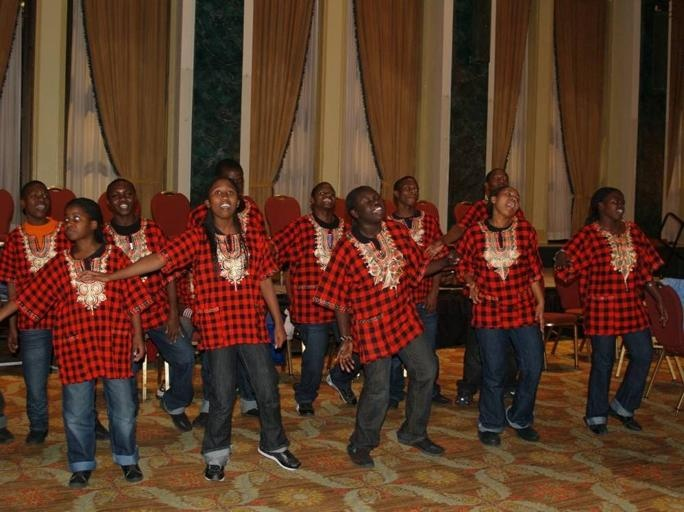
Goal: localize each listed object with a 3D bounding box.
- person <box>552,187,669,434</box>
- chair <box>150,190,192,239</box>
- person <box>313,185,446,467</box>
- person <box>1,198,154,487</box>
[{"bbox_3d":[2.014,0.405,4.733,0.851,1.830,0.375,2,4,7],"label":"person"},{"bbox_3d":[-1.886,-0.427,6.908,0.442,0.622,0.484,1,-2,-29],"label":"chair"},{"bbox_3d":[0.253,0.451,4.059,0.811,1.788,0.366,1,4,-3],"label":"person"},{"bbox_3d":[-1.517,0.497,3.696,0.723,1.667,0.295,3,4,12],"label":"person"}]
